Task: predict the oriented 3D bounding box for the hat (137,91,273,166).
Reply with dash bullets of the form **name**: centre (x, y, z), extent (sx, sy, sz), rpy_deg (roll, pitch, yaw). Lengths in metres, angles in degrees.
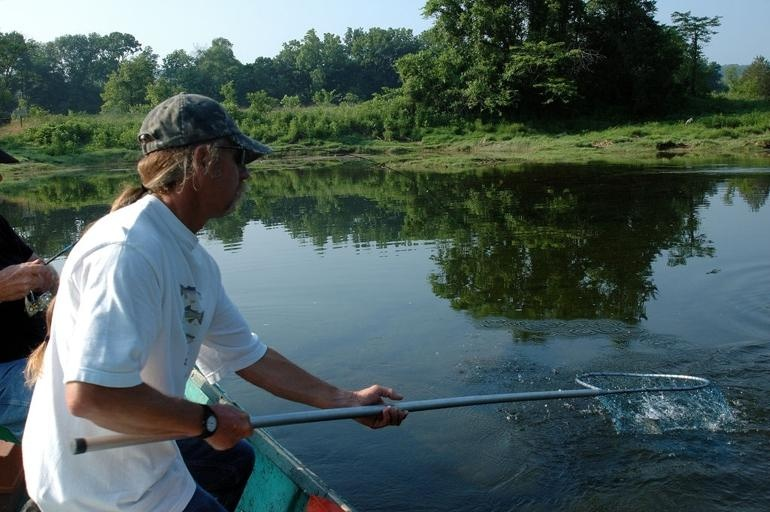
- **hat**: centre (-1.168, -0.800, 4.426), extent (0.632, 0.334, 0.391), rpy_deg (-10, 13, -23)
